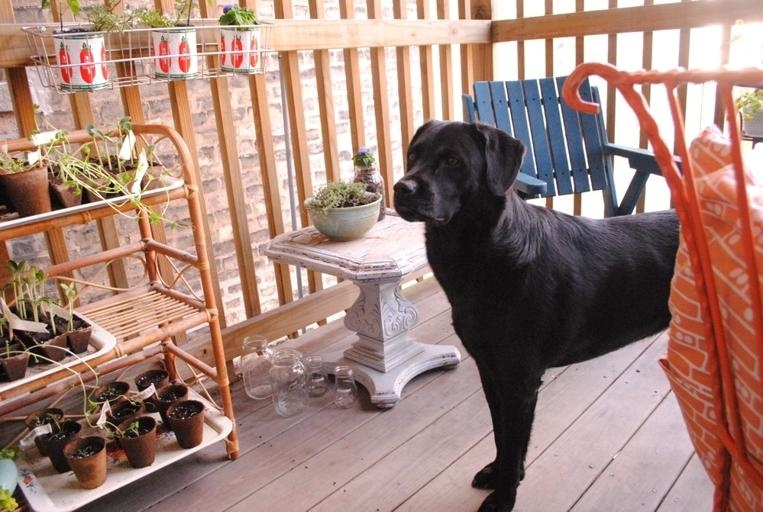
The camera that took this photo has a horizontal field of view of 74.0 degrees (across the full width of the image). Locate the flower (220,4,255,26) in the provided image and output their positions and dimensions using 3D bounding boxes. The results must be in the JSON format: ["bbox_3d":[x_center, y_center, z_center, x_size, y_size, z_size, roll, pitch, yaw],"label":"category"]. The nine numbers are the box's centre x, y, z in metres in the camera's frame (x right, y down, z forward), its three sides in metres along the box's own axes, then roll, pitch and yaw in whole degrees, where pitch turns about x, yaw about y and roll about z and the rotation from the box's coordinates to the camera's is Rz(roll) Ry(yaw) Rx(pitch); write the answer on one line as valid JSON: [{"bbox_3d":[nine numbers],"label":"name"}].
[{"bbox_3d":[-0.539,-0.909,1.929,0.124,0.063,0.119,18,34,20],"label":"flower"}]

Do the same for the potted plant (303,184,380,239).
[{"bbox_3d":[-0.166,-0.197,2.310,0.383,0.228,0.386,-8,16,-17],"label":"potted plant"}]

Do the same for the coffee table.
[{"bbox_3d":[0.009,0.232,2.444,0.939,0.634,0.925,-2,13,12],"label":"coffee table"}]

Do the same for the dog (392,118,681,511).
[{"bbox_3d":[0.512,0.198,1.710,0.892,1.269,0.383,-5,18,-5],"label":"dog"}]

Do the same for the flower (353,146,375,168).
[{"bbox_3d":[-0.079,-0.451,2.342,0.106,0.082,0.103,-3,18,2],"label":"flower"}]

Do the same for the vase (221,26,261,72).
[{"bbox_3d":[-0.535,-0.789,1.938,0.167,0.167,0.166,17,26,30],"label":"vase"}]

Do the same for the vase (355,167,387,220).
[{"bbox_3d":[-0.060,-0.293,2.382,0.156,0.256,0.153,-12,16,-32],"label":"vase"}]

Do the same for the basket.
[{"bbox_3d":[-0.899,-0.793,2.006,0.827,0.284,0.633,-15,20,-35],"label":"basket"}]
